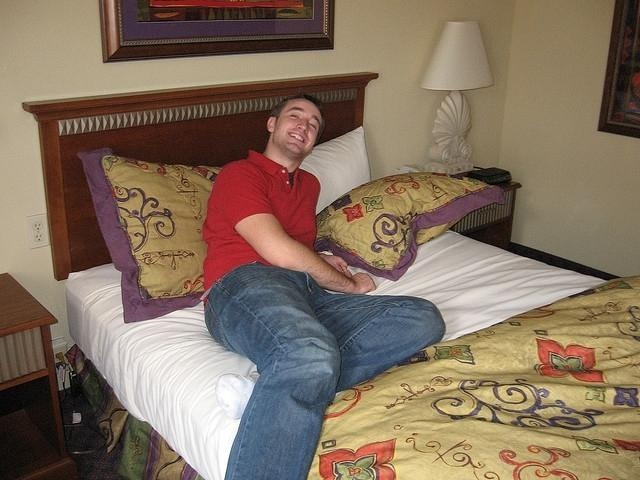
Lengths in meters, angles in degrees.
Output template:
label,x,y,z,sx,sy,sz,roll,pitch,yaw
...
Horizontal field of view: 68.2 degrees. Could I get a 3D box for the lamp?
label,x,y,z,sx,sy,sz,roll,pitch,yaw
lamp,0.869,-0.928,3.128,0.558,0.924,0.479,-14,25,-31
